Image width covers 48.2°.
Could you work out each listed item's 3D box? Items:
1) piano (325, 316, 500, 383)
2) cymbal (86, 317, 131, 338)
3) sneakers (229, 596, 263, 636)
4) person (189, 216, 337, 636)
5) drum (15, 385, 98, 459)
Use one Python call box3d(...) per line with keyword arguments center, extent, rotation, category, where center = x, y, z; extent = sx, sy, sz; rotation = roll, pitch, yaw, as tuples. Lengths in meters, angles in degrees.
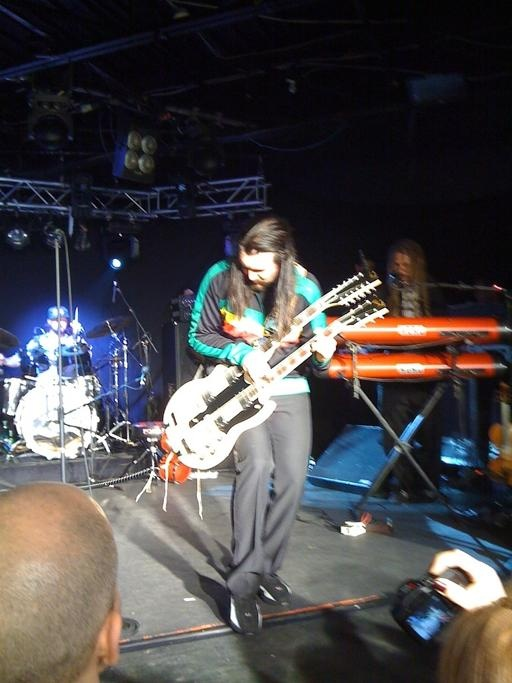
box3d(center=(1.172, 0.057, 4.139), extent=(0.560, 0.495, 1.380), rotation=(-2, 1, -39), category="piano")
box3d(center=(-1.938, -0.251, 7.621), extent=(0.500, 0.101, 0.478), rotation=(-7, 14, 31), category="cymbal")
box3d(center=(-0.039, 1.087, 2.298), extent=(0.134, 0.134, 0.113), rotation=(-1, 1, -4), category="sneakers")
box3d(center=(0.047, 0.315, 2.509), extent=(0.599, 1.720, 0.522), rotation=(-2, 1, -13), category="person")
box3d(center=(-2.119, 0.832, 5.998), extent=(0.740, 0.574, 0.780), rotation=(-1, 1, 0), category="drum")
